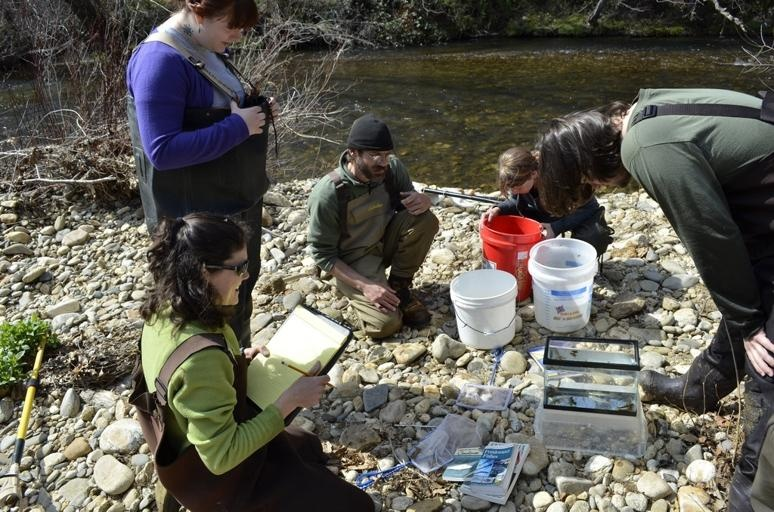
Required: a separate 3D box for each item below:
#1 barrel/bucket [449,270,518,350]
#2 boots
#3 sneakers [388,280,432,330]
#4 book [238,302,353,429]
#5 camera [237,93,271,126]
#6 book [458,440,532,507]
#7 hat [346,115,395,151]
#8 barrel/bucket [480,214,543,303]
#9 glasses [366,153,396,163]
[{"bbox_3d":[0.739,0.398,4.226,0.590,0.517,0.580,-8,28,4],"label":"barrel/bucket"},{"bbox_3d":[1.965,0.727,3.483,0.326,0.561,0.528,-29,49,-30],"label":"boots"},{"bbox_3d":[0.196,0.396,4.565,0.192,0.237,0.551,-36,65,-13],"label":"sneakers"},{"bbox_3d":[-0.538,0.664,3.349,0.486,0.156,0.675,25,60,26],"label":"book"},{"bbox_3d":[-0.814,-0.925,3.458,0.173,0.221,0.219,1,-13,3],"label":"camera"},{"bbox_3d":[0.690,1.271,3.210,0.267,0.054,0.371,-5,41,46],"label":"book"},{"bbox_3d":[-0.118,-0.930,4.134,0.300,0.210,0.277,7,21,23],"label":"hat"},{"bbox_3d":[0.954,0.010,4.628,0.633,0.683,0.687,-2,24,1],"label":"barrel/bucket"},{"bbox_3d":[-0.055,-0.753,4.164,0.126,0.058,0.139,-6,-5,-12],"label":"glasses"}]
